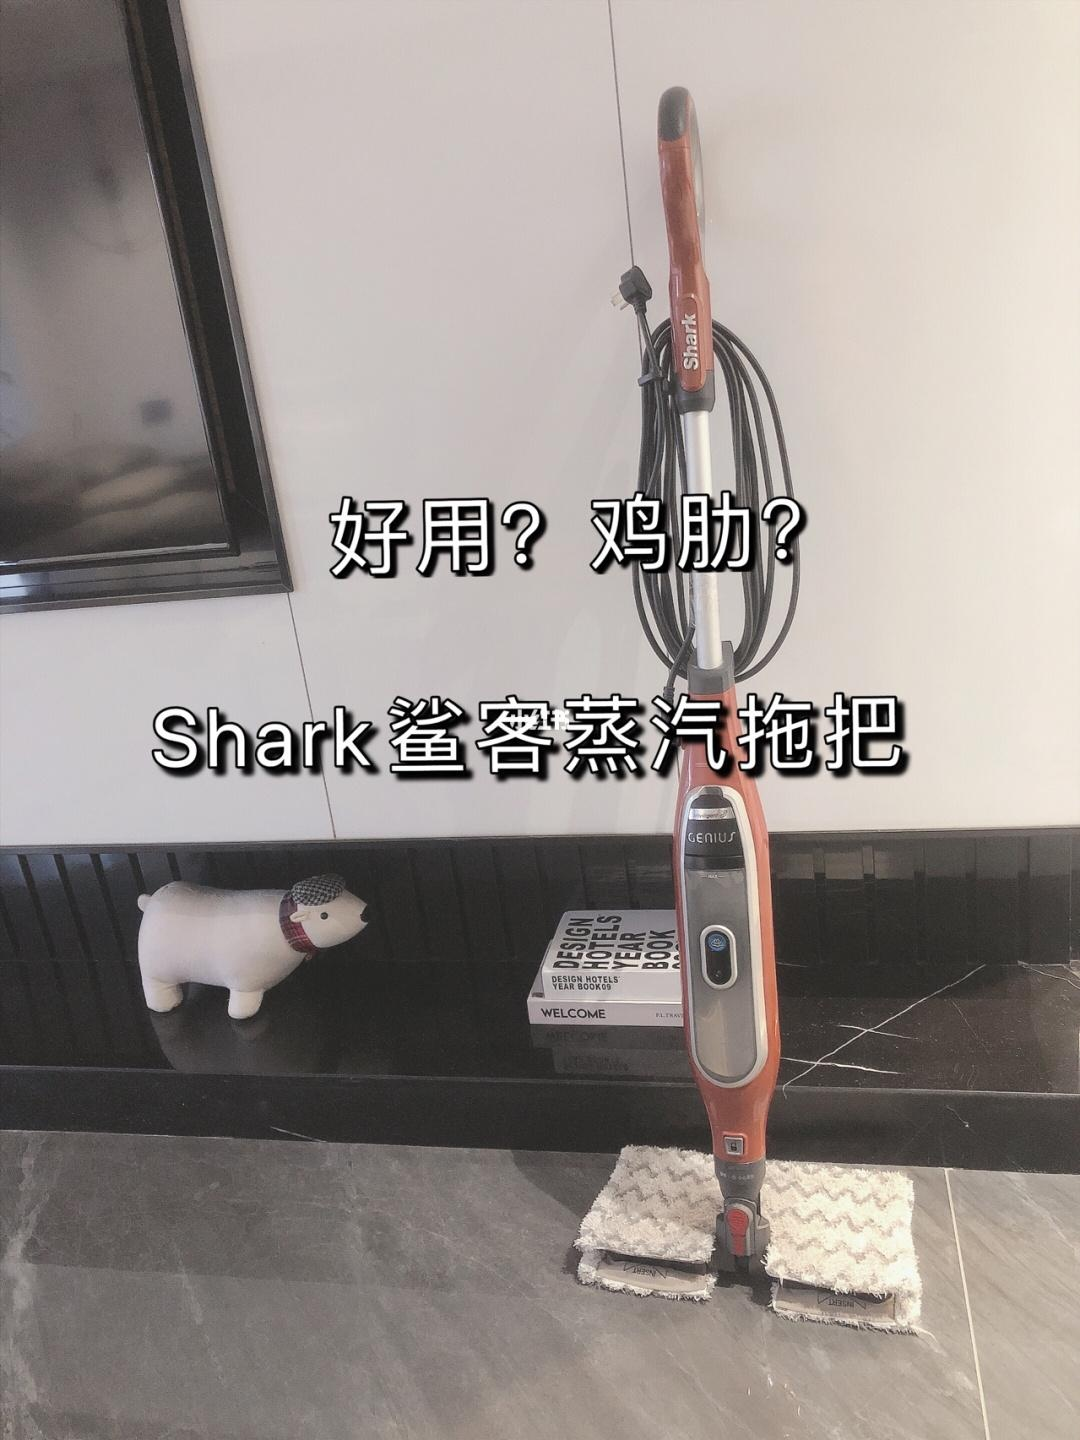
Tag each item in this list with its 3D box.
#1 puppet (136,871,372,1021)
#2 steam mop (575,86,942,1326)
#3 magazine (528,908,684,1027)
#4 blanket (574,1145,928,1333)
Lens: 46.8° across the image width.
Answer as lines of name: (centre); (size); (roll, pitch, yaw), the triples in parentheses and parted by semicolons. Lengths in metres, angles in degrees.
puppet: (-0.493, 0.363, 2.194); (0.397, 0.284, 0.196); (1, 16, 0)
steam mop: (0.226, -0.011, 1.537); (0.449, 1.394, 0.543); (-1, 21, 14)
magazine: (0.113, 0.387, 1.934); (0.169, 0.049, 0.196); (-2, 26, 9)
blanket: (0.285, 0.668, 1.624); (0.266, 0.062, 0.204); (1, 11, 11)
